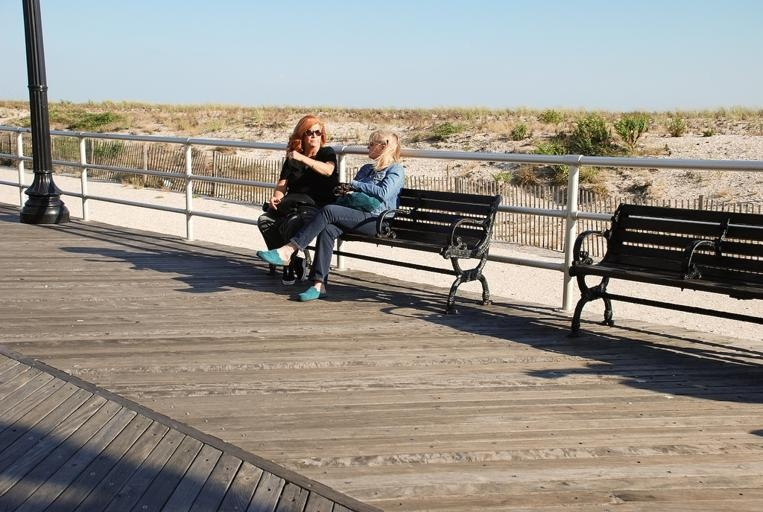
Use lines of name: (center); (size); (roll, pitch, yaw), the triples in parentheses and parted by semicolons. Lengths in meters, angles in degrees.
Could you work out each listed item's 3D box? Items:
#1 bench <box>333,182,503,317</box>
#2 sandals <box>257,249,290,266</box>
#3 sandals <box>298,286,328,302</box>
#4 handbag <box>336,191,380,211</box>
bench: (0.275, -0.168, 7.283); (0.726, 0.678, 1.808); (-20, 22, -35)
sandals: (-0.930, 0.020, 7.013); (0.150, 0.081, 0.286); (11, 3, 43)
sandals: (-0.555, 0.345, 7.035); (0.272, 0.075, 0.119); (1, -1, -45)
handbag: (-0.137, -0.476, 7.151); (0.363, 0.063, 0.186); (2, -6, 20)
